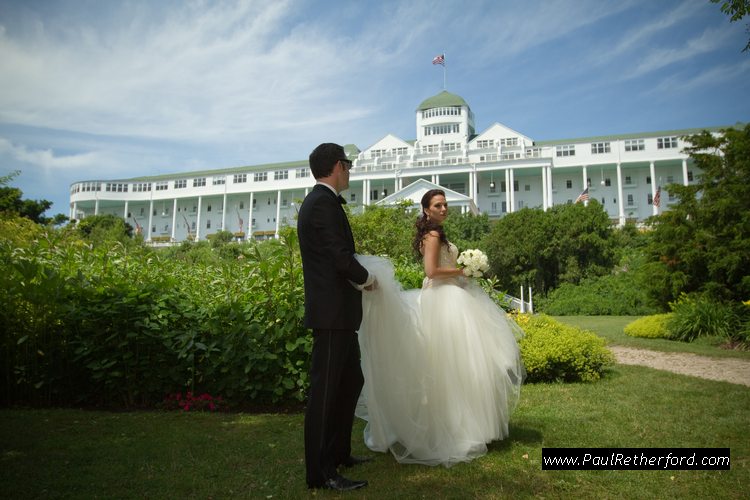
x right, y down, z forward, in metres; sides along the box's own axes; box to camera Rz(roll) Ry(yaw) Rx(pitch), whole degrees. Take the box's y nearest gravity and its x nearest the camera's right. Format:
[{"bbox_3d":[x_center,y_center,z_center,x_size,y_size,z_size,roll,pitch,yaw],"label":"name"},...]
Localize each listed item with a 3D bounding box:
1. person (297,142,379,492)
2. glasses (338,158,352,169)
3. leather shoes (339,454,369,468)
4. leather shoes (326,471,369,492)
[{"bbox_3d":[-0.511,0.786,6.172,0.835,4.003,1.498,-1,14,-9],"label":"person"},{"bbox_3d":[-0.389,-1.101,6.442,0.147,0.049,0.150,0,-1,23],"label":"glasses"},{"bbox_3d":[-0.282,2.635,6.464,0.383,0.170,0.127,-2,-1,-24],"label":"leather shoes"},{"bbox_3d":[-0.314,2.734,6.045,0.517,0.237,0.176,-4,-10,4],"label":"leather shoes"}]
